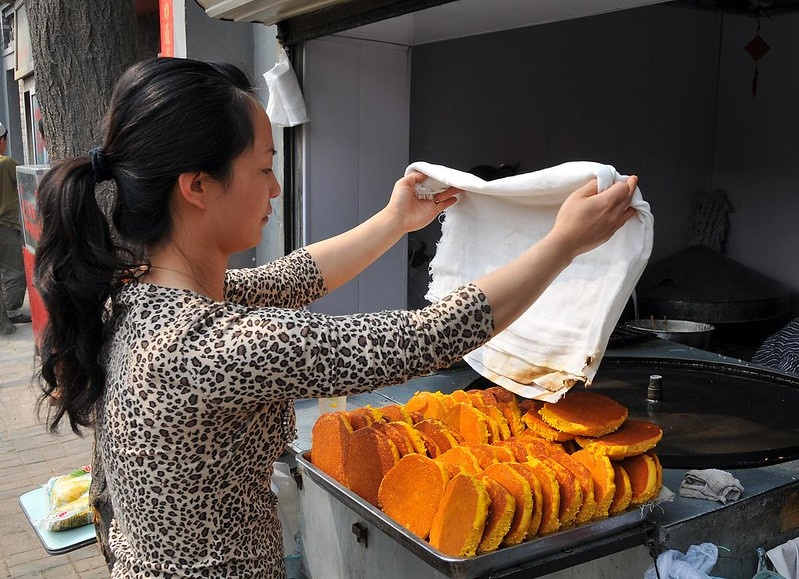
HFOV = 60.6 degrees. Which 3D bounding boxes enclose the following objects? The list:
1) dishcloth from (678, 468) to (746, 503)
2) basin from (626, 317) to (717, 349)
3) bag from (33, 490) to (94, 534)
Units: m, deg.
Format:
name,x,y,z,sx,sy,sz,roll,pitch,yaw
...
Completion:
name,x,y,z,sx,sy,sz,roll,pitch,yaw
dishcloth,1.049,0.652,2.290,0.187,0.068,0.154,10,16,27
basin,1.783,0.264,4.446,0.347,0.117,0.351,0,6,0
bag,-1.578,1.073,3.208,0.231,0.088,0.327,-3,-11,7
